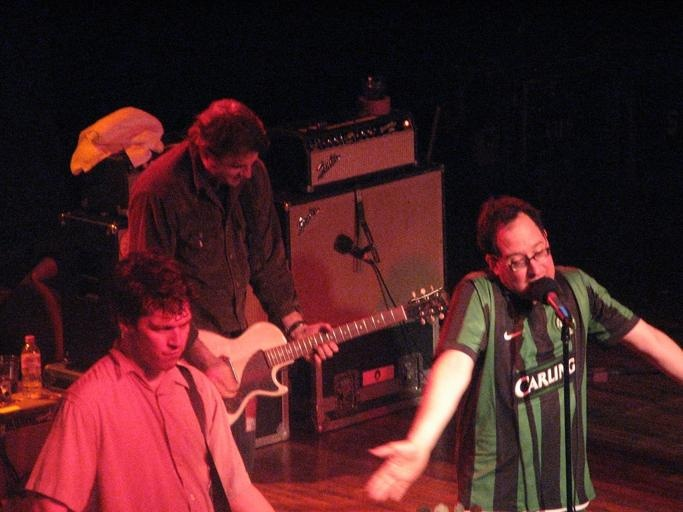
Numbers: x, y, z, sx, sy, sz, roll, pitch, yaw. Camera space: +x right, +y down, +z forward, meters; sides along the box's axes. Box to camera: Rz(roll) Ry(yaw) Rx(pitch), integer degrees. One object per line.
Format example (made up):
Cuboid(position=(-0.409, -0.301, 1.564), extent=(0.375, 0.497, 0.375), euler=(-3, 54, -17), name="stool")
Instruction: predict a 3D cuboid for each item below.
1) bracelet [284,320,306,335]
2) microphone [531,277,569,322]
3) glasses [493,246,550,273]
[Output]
Cuboid(position=(-0.242, 0.363, 3.495), extent=(0.091, 0.024, 0.051), euler=(-49, 21, -10), name="bracelet")
Cuboid(position=(0.713, 0.152, 2.323), extent=(0.087, 0.146, 0.161), euler=(-1, 2, -1), name="microphone")
Cuboid(position=(0.686, 0.014, 2.493), extent=(0.197, 0.082, 0.083), euler=(-2, 2, -26), name="glasses")
